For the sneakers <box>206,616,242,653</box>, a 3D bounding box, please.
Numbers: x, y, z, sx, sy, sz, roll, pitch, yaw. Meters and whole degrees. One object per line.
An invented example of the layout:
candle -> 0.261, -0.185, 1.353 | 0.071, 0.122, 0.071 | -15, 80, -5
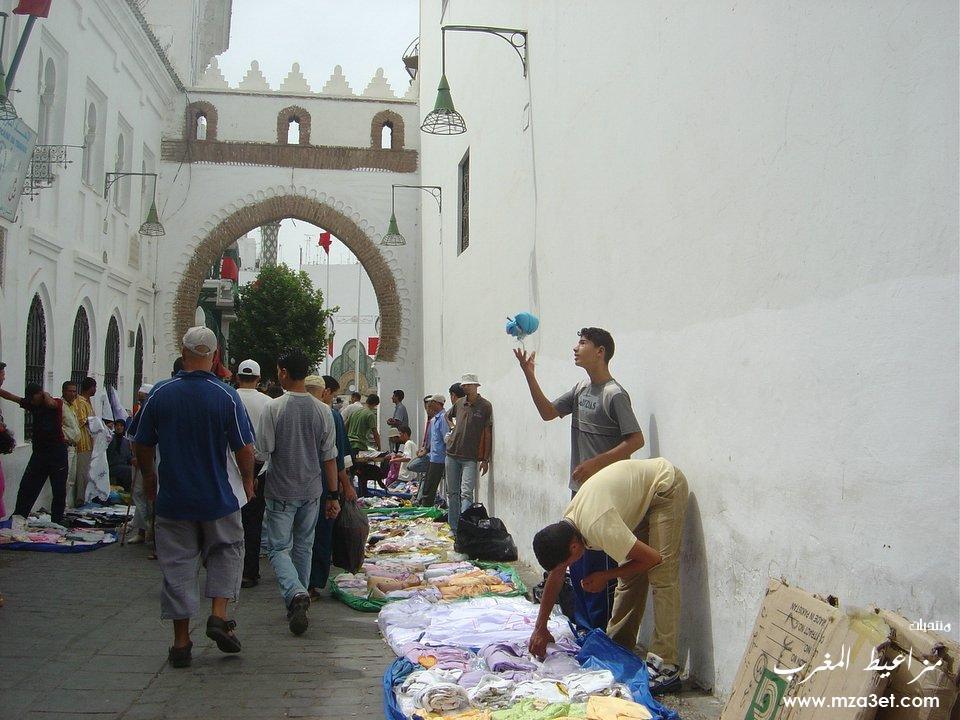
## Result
sneakers -> -1.820, 1.938, 5.691 | 0.229, 0.303, 0.371 | 2, -6, -16

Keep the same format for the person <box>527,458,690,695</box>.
person -> 0.910, 1.356, 5.211 | 1.070, 1.434, 0.716 | 1, -5, -2

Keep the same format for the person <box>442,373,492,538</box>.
person -> -0.172, 1.251, 10.927 | 0.783, 2.096, 0.448 | -3, -6, 34

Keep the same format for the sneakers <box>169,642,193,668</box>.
sneakers -> -2.060, 2.017, 5.505 | 0.080, 0.109, 0.232 | 0, -4, -8

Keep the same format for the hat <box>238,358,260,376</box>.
hat -> -2.275, 0.073, 7.887 | 0.163, 0.158, 0.279 | 2, 3, -13

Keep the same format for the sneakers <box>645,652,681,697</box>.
sneakers -> 1.161, 2.006, 5.100 | 0.321, 0.255, 0.122 | 18, -24, -35

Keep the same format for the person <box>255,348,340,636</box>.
person -> -1.573, 1.040, 6.812 | 0.629, 2.289, 1.060 | 1, -5, -2

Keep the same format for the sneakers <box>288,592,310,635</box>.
sneakers -> -1.433, 1.976, 6.294 | 0.117, 0.358, 0.147 | 3, -1, 1

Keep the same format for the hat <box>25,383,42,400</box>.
hat -> -5.492, 0.378, 9.856 | 0.183, 0.195, 0.206 | 4, -6, -30

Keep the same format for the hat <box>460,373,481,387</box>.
hat -> -0.139, 0.250, 10.865 | 0.199, 0.169, 0.268 | 2, -6, -9

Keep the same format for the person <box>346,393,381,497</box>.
person -> -2.189, 1.624, 15.052 | 0.584, 2.100, 0.626 | 3, 0, 27

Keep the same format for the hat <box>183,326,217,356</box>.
hat -> -2.064, -0.169, 5.894 | 0.176, 0.170, 0.279 | 3, 15, -23

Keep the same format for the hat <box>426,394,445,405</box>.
hat -> -0.698, 0.629, 13.279 | 0.209, 0.074, 0.154 | 14, -14, -27

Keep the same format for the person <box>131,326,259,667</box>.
person -> -2.066, 0.949, 5.818 | 0.713, 2.438, 0.597 | 1, 3, -25
